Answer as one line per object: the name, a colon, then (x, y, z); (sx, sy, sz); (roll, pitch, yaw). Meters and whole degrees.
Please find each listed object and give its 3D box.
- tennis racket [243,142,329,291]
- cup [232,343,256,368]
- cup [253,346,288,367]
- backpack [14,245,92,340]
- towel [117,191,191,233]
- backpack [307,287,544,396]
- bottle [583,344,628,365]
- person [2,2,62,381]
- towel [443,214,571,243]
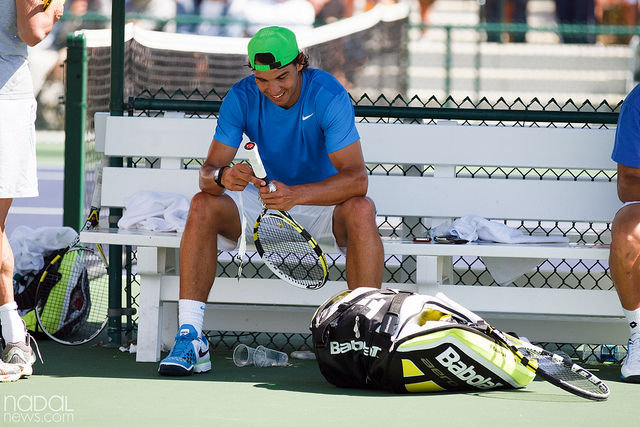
tennis racket: (-0.195, 0.004, 5.800); (0.437, 1.000, 0.073); (-38, 30, -8)
cup: (-0.469, 0.915, 5.999); (0.143, 0.164, 0.118); (4, 1, 40)
cup: (-0.320, 0.912, 5.930); (0.203, 0.149, 0.143); (5, -34, -20)
backpack: (-1.825, 0.570, 6.497); (0.228, 0.670, 0.413); (6, -7, 25)
towel: (-1.094, -0.007, 6.172); (0.445, 0.241, 0.246); (1, 4, 1)
backpack: (0.572, 0.751, 5.369); (0.921, 0.400, 0.686); (12, 3, -6)
bottle: (1.920, 0.959, 6.348); (0.203, 0.098, 0.209); (-1, 0, 0)
person: (-1.817, -0.172, 5.874); (0.353, 2.251, 0.908); (0, 5, -16)
towel: (1.192, 0.101, 6.112); (0.773, 0.165, 0.208); (1, 4, -7)
